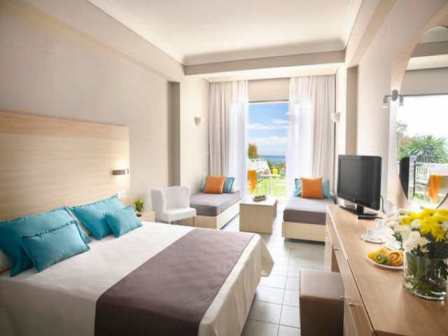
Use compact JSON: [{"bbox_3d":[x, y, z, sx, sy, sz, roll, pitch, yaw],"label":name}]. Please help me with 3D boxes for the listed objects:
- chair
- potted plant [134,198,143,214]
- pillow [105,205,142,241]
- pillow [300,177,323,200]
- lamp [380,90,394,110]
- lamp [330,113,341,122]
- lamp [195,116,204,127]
[{"bbox_3d":[-0.802,0.563,4.891,0.611,0.845,0.642,-2,0,44],"label":"chair"},{"bbox_3d":[-1.219,0.550,4.501,0.179,0.202,0.168,3,4,42],"label":"potted plant"},{"bbox_3d":[-1.162,0.599,3.523,0.113,0.259,0.418,-31,-6,18],"label":"pillow"},{"bbox_3d":[1.606,0.385,5.673,0.342,0.367,0.130,0,-25,14],"label":"pillow"},{"bbox_3d":[1.592,-0.680,2.967,0.100,0.159,0.199,5,13,15],"label":"lamp"},{"bbox_3d":[1.986,-0.909,5.510,0.153,0.159,0.159,-3,13,-2],"label":"lamp"},{"bbox_3d":[-0.482,-0.953,6.106,0.183,0.200,0.165,2,5,19],"label":"lamp"}]
